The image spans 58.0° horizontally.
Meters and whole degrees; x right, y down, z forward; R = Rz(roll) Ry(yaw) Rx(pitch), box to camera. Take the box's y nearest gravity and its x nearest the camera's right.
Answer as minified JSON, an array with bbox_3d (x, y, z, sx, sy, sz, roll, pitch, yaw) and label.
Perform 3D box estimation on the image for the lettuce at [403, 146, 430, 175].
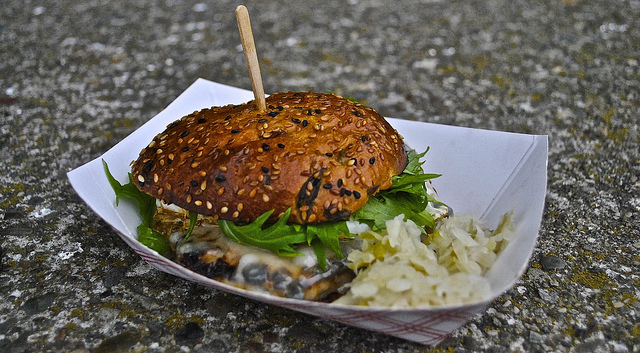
[{"bbox_3d":[0.681,-0.101,4.136,0.197,0.043,0.185,-45,50,-11],"label":"lettuce"}]

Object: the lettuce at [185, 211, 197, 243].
[{"bbox_3d":[-0.878,0.346,3.900,0.072,0.025,0.217,18,86,24],"label":"lettuce"}]

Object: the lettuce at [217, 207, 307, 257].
[{"bbox_3d":[-0.380,0.371,3.780,0.581,0.153,0.293,-3,73,-1],"label":"lettuce"}]
